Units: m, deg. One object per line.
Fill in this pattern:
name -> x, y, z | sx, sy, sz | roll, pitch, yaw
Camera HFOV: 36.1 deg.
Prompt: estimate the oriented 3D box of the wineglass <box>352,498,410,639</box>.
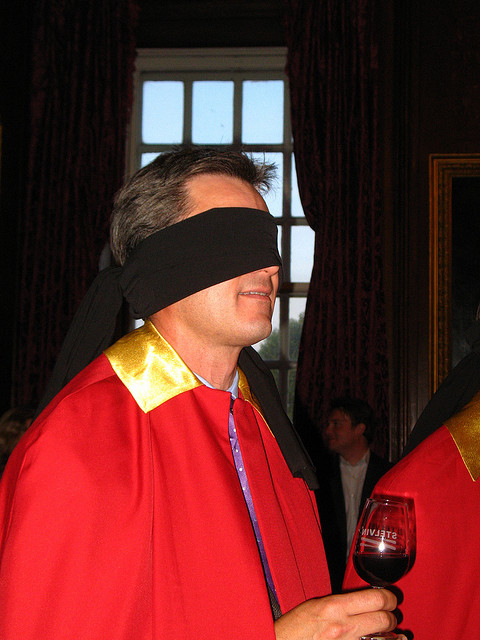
wineglass -> 0.223, 0.367, 1.186 | 0.092, 0.147, 0.153 | -3, -9, 19
